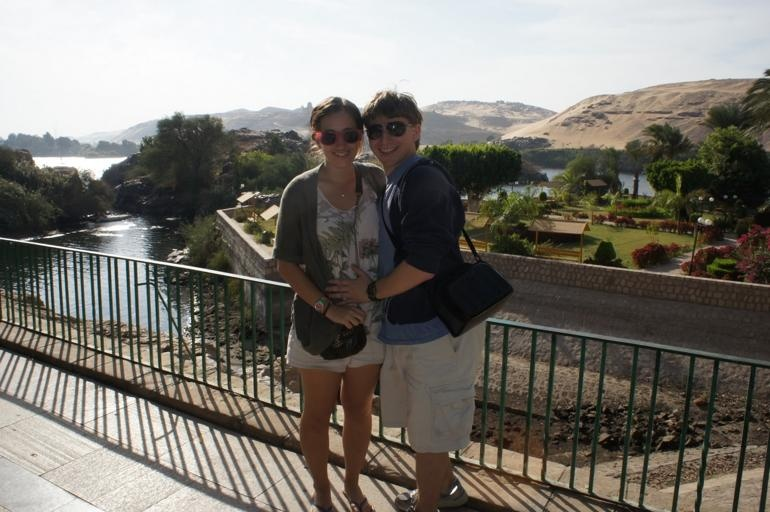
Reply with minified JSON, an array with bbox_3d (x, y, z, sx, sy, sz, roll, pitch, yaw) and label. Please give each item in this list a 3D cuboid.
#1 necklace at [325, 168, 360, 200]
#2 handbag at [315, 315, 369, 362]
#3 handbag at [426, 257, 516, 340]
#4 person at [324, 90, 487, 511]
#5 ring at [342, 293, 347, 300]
[{"bbox_3d":[-0.297,-0.564,4.115,0.178,0.266,0.087,6,-3,5],"label":"necklace"},{"bbox_3d":[-0.348,0.626,4.080,0.293,0.317,0.129,1,15,-4],"label":"handbag"},{"bbox_3d":[0.577,0.344,4.077,0.626,0.523,0.446,-34,-9,-27],"label":"handbag"},{"bbox_3d":[0.247,0.474,4.089,0.939,3.451,0.624,5,14,30],"label":"person"},{"bbox_3d":[-0.313,0.318,4.067,0.051,0.038,0.029,-1,5,4],"label":"ring"}]
